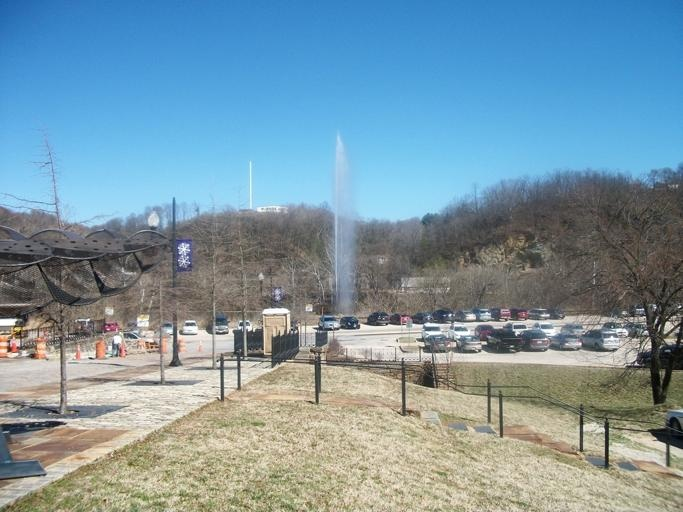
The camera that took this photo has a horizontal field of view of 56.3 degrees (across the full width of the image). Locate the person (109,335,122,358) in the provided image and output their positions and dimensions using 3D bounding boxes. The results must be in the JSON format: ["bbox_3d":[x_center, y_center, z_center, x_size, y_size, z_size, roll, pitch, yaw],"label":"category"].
[{"bbox_3d":[-13.187,5.277,37.741,0.479,1.184,0.866,6,1,-14],"label":"person"}]

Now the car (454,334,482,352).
[{"bbox_3d":[8.974,6.413,45.969,1.947,1.199,1.120,7,1,-29],"label":"car"}]

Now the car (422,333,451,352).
[{"bbox_3d":[6.765,6.362,45.079,1.633,1.270,2.948,7,0,6],"label":"car"}]

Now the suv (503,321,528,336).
[{"bbox_3d":[14.371,6.352,52.913,1.464,1.093,3.214,0,2,16],"label":"suv"}]

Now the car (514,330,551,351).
[{"bbox_3d":[13.915,6.201,46.810,1.263,1.064,2.815,-1,1,-2],"label":"car"}]

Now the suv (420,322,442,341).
[{"bbox_3d":[7.403,6.174,52.842,1.185,1.062,2.138,-1,-11,-2],"label":"suv"}]

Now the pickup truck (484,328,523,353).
[{"bbox_3d":[11.715,6.220,46.429,1.343,1.744,2.887,7,0,-10],"label":"pickup truck"}]

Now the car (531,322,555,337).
[{"bbox_3d":[16.526,5.813,51.912,1.443,1.212,3.211,0,-9,5],"label":"car"}]

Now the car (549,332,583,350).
[{"bbox_3d":[16.326,6.350,47.043,0.964,1.346,2.408,6,1,-22],"label":"car"}]

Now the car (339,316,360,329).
[{"bbox_3d":[0.878,7.004,65.730,1.323,1.272,2.950,7,0,-26],"label":"car"}]
